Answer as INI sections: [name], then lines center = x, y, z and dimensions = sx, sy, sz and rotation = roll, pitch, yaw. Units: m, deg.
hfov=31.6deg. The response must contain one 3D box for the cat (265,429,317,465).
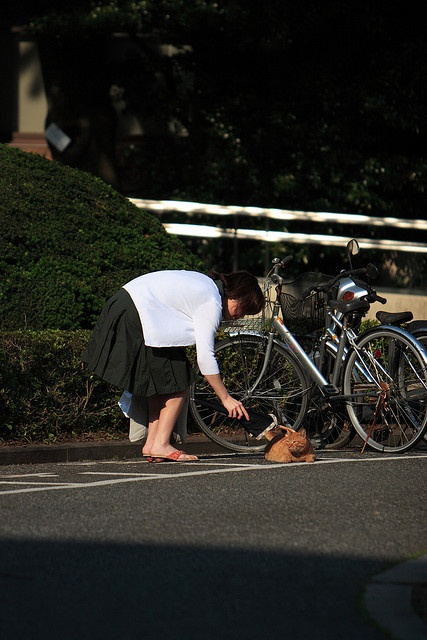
[cat]
center = 0.519, 0.830, 5.058
dimensions = 0.192, 0.170, 0.359
rotation = -2, 5, -22

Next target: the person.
[person]
center = -0.257, 0.290, 5.039
dimensions = 1.210, 1.257, 0.979
rotation = 4, 1, -2

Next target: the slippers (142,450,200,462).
[slippers]
center = -0.268, 0.910, 4.964
dimensions = 0.292, 0.076, 0.115
rotation = -1, -2, -9

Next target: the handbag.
[handbag]
center = -0.388, 0.629, 4.966
dimensions = 0.372, 0.419, 0.320
rotation = 0, -1, 26
